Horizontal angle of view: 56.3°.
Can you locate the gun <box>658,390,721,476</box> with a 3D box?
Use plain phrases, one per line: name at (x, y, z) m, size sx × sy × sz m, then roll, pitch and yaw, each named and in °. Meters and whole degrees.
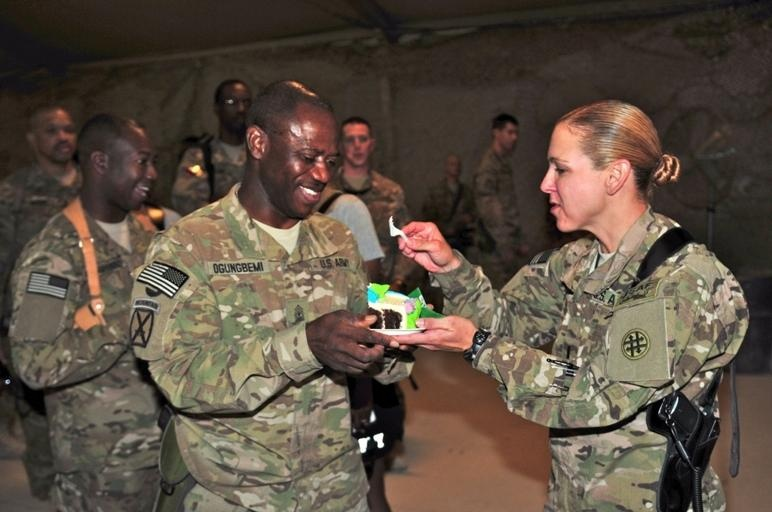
gun at (1.510, 0.847, 3.542) m, size 0.380 × 0.395 × 0.155 m, roll -11°, pitch 18°, yaw -32°
